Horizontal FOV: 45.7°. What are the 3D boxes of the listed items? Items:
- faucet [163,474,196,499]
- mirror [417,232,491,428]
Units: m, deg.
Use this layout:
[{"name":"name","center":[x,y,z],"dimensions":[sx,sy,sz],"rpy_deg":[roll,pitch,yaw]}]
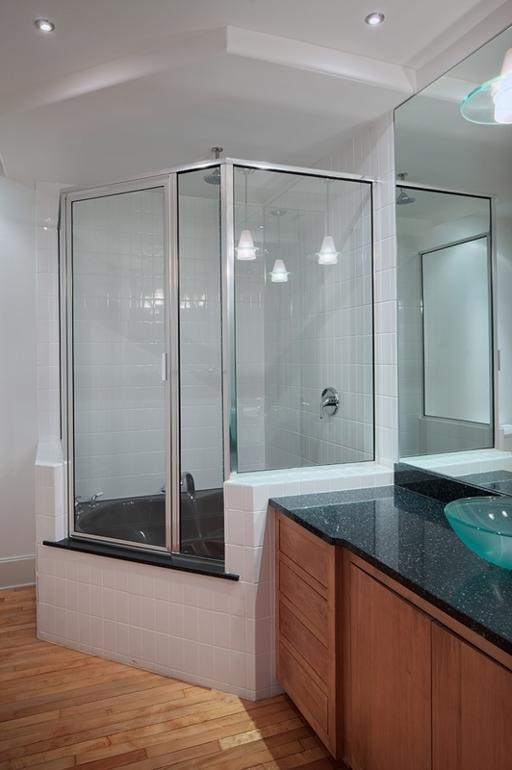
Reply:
[{"name":"faucet","center":[-0.299,0.401,2.415],"dimensions":[0.071,0.098,0.163],"rpy_deg":[-2,-11,17]},{"name":"mirror","center":[0.715,-0.159,2.163],"dimensions":[0.021,0.716,0.380],"rpy_deg":[-2,2,-23]}]
